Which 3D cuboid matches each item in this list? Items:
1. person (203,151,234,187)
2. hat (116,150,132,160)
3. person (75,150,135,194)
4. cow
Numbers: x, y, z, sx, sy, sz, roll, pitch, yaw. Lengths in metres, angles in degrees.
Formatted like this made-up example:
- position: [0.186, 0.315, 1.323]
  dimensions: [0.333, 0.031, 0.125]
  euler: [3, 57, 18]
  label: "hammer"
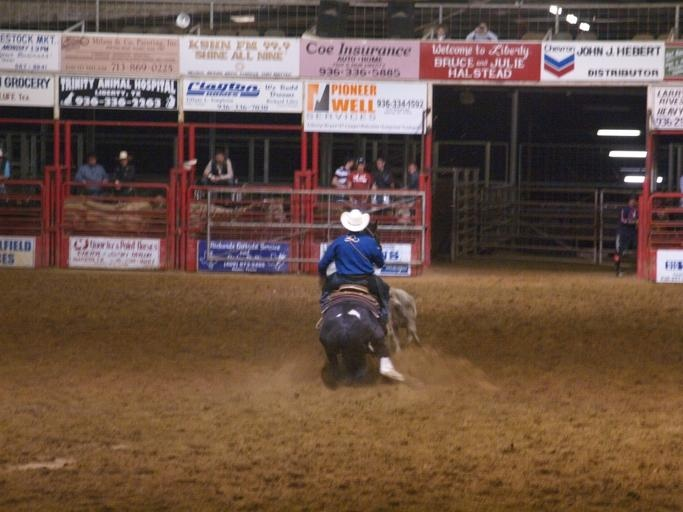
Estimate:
- position: [-3.351, -2.332, 41.457]
  dimensions: [0.758, 1.342, 0.940]
  euler: [-1, 30, -8]
  label: "person"
- position: [-6.490, -2.977, 44.953]
  dimensions: [0.566, 0.336, 0.718]
  euler: [-2, 2, -7]
  label: "hat"
- position: [-6.813, -2.355, 43.275]
  dimensions: [1.315, 1.640, 0.617]
  euler: [0, -5, -24]
  label: "person"
- position: [0.658, 1.657, 32.961]
  dimensions: [1.915, 2.176, 2.921]
  euler: [3, 5, 37]
  label: "cow"
